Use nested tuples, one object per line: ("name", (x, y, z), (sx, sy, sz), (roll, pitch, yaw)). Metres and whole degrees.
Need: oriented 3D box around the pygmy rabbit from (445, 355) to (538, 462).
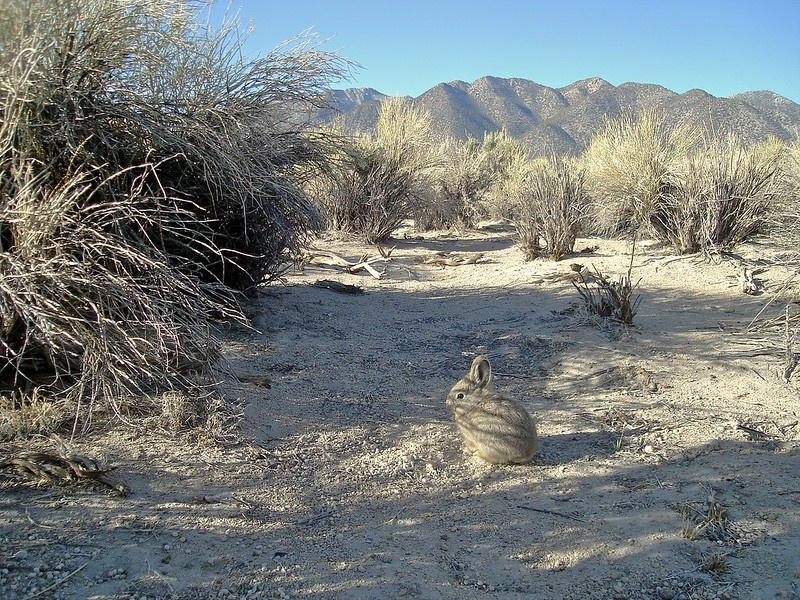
("pygmy rabbit", (0.727, 0.811, 5.209), (0.523, 0.718, 0.786), (-7, 12, -43))
